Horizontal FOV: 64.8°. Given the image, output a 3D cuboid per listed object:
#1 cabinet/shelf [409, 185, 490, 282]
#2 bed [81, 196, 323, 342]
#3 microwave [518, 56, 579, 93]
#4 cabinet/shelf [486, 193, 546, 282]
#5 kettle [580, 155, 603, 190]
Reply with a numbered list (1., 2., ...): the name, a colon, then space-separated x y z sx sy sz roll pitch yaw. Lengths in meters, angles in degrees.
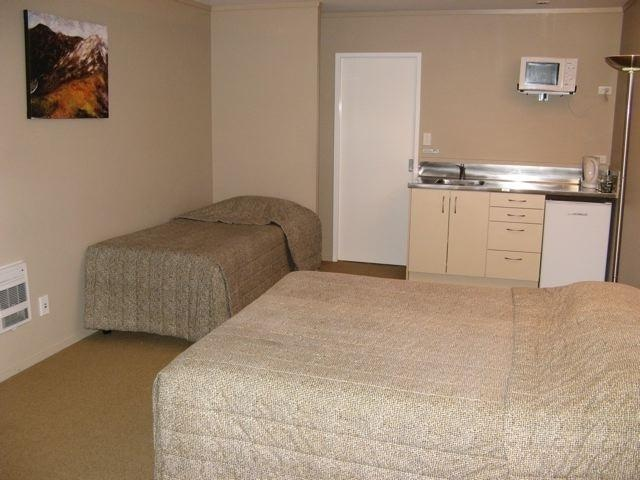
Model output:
1. cabinet/shelf: 1.396 -0.146 5.393 0.791 0.935 0.483 5 16 19
2. bed: -0.888 0.162 4.524 1.066 0.648 1.587 6 12 24
3. microwave: 2.302 -1.674 5.094 0.652 0.459 0.345 5 14 17
4. cabinet/shelf: 2.029 0.117 5.263 0.531 0.858 0.580 6 -27 19
5. kettle: 2.804 -0.705 5.197 0.214 0.308 0.409 7 17 28
